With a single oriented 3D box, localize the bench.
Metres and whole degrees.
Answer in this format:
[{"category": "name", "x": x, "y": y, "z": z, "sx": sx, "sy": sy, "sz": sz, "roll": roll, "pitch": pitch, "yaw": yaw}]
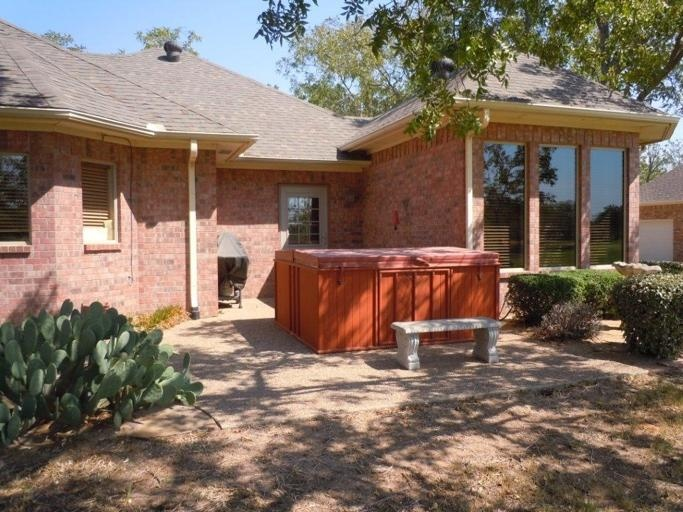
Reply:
[{"category": "bench", "x": 1.862, "y": 1.529, "z": 9.922, "sx": 1.821, "sy": 0.734, "sz": 0.667, "roll": -1, "pitch": 4, "yaw": -14}]
